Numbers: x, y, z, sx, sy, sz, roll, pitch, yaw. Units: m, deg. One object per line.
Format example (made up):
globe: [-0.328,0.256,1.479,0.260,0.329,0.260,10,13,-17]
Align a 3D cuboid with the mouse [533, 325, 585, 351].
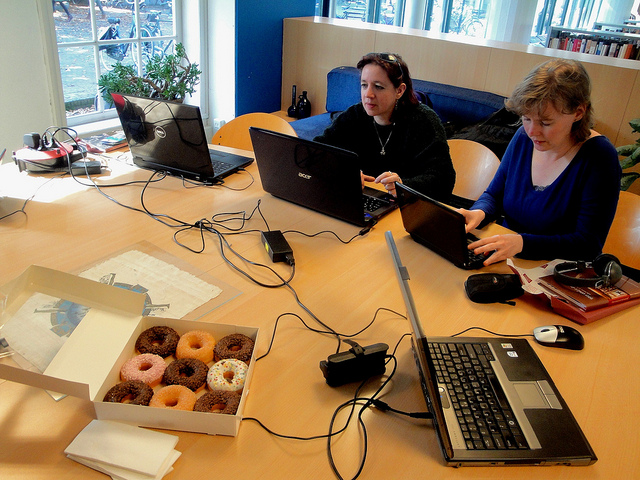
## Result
mouse: [0.703,0.272,1.323,0.104,0.034,0.073,9,25,9]

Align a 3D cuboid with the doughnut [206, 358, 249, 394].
doughnut: [-0.238,0.344,1.166,0.098,0.044,0.083,6,27,5]

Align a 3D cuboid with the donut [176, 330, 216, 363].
donut: [-0.334,0.290,1.226,0.100,0.049,0.094,4,27,1]

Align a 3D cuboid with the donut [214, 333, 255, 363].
donut: [-0.226,0.290,1.226,0.112,0.048,0.083,5,27,3]

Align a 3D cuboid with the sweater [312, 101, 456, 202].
sweater: [0.434,-0.655,2.578,0.801,0.555,0.713,15,28,20]

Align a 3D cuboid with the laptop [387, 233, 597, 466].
laptop: [0.418,0.310,1.120,0.452,0.376,0.510,-3,39,-7]

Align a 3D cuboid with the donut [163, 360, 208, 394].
donut: [-0.348,0.361,1.209,0.136,0.050,0.138,9,-14,-37]

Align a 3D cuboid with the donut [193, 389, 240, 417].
donut: [-0.250,0.397,1.107,0.109,0.035,0.081,5,27,4]

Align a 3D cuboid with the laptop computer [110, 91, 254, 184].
laptop computer: [-0.621,-0.513,2.168,0.590,0.414,0.431,17,34,21]

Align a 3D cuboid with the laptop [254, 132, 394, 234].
laptop: [0.024,-0.291,1.850,0.569,0.366,0.397,22,46,22]
